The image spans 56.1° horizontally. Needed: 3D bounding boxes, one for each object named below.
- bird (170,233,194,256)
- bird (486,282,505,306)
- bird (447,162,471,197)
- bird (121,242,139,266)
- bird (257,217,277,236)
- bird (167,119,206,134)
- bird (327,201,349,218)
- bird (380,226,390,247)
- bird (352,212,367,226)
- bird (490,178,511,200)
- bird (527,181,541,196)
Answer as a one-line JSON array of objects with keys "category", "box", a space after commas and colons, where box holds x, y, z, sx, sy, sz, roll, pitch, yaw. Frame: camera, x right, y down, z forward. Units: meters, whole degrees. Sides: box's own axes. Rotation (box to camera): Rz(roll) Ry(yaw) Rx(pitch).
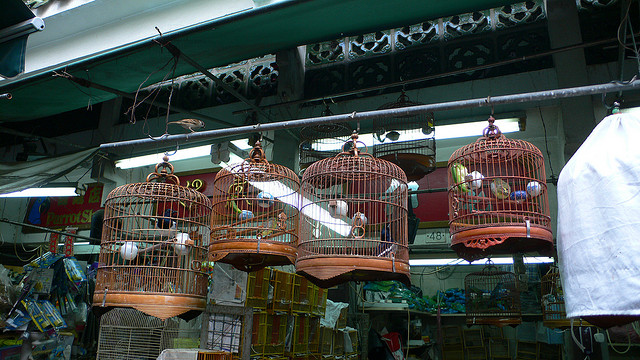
[{"category": "bird", "box": [-2.197, 1.052, 9.605, 0.301, 0.348, 0.351, -15, -25, 38]}, {"category": "bird", "box": [3.999, 2.632, 13.800, 0.309, 0.524, 0.695, -6, -20, 15]}, {"category": "bird", "box": [2.151, -0.021, 9.410, 0.116, 0.483, 0.342, -11, 2, 2]}, {"category": "bird", "box": [-3.015, 1.149, 9.517, 0.237, 0.329, 0.216, -3, -19, 8]}, {"category": "bird", "box": [-0.872, 0.806, 10.351, 0.080, 0.299, 0.326, 27, -32, -31]}, {"category": "bird", "box": [-2.242, -0.894, 9.898, 0.644, 0.224, 0.190, 3, -14, 9]}, {"category": "bird", "box": [0.298, 0.469, 9.482, 0.259, 0.237, 0.309, -4, -7, -27]}, {"category": "bird", "box": [1.067, 0.933, 9.852, 0.181, 0.331, 0.200, 6, -26, -1]}, {"category": "bird", "box": [0.638, 0.624, 9.531, 0.152, 0.202, 0.175, -2, 4, -19]}, {"category": "bird", "box": [2.834, 0.148, 9.380, 0.271, 0.231, 0.324, -12, -41, 34]}, {"category": "bird", "box": [3.275, 0.141, 9.239, 0.194, 0.229, 0.202, -2, 4, -10]}]
